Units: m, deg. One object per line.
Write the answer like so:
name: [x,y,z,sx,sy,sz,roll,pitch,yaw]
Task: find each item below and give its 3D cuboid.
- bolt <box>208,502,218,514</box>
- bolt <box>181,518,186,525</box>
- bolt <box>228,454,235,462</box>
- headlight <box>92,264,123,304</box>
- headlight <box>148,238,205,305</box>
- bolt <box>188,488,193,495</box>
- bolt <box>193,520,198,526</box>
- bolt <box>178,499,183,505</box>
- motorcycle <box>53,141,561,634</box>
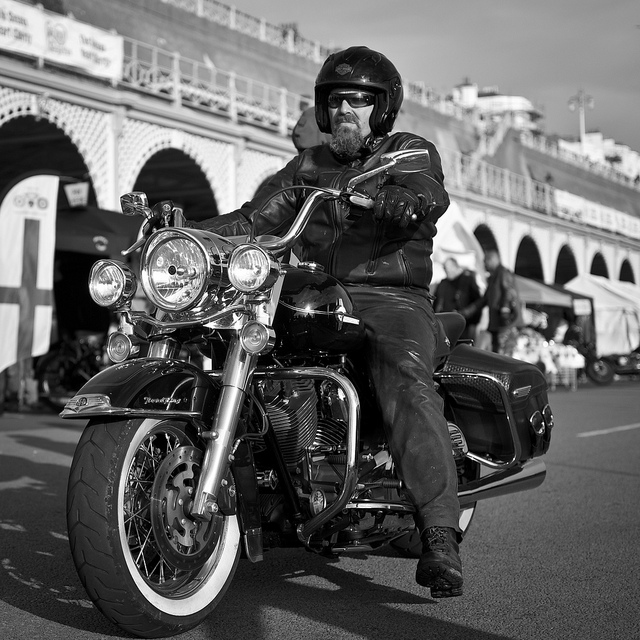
bolt: [-0.300,0.531,2.245,0.025,0.031,0.026,2,2,39]
bolt: [-0.397,0.590,2.328,0.003,0.019,0.017,-1,-2,43]
bolt: [-0.263,0.412,2.383,0.019,0.024,0.011,1,-1,-32]
headlight: [-0.636,-0.113,2.396,0.082,0.127,0.040,1,-2,22]
headlight: [-0.404,-0.140,2.299,0.189,0.246,0.125,-5,-6,5]
bolt: [-0.378,0.502,2.328,0.015,0.018,0.004,2,-7,-23]
bolt: [-0.368,0.605,2.365,0.009,0.015,0.003,2,-4,35]
bolt: [-0.402,0.528,2.305,0.013,0.016,0.004,1,-2,-37]
motorcycle: [-0.043,0.156,2.787,1.044,1.728,1.665,-1,-2,24]
